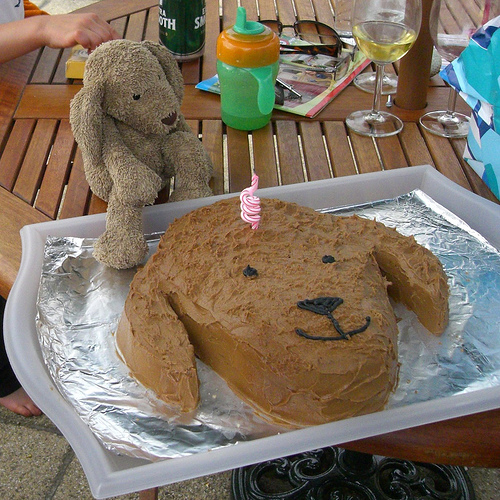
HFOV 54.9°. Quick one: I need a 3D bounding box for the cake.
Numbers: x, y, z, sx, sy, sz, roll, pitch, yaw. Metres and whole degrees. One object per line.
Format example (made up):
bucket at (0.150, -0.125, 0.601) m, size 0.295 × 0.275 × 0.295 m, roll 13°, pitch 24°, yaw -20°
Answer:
cake at (0.065, 0.059, 0.779) m, size 0.564 × 0.227 × 0.408 m, roll 7°, pitch 50°, yaw 5°
